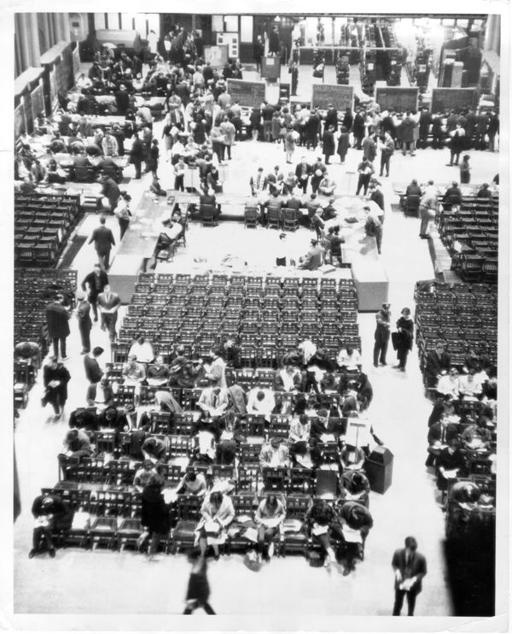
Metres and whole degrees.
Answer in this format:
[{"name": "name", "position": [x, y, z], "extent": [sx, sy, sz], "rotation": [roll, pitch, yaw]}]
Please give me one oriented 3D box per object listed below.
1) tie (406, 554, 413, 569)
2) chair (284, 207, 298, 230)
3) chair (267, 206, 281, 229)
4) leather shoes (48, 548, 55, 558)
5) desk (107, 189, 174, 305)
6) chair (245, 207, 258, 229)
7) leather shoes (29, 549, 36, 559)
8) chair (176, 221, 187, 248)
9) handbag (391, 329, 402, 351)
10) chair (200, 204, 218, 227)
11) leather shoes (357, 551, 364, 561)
[{"name": "tie", "position": [1.975, 3.078, 11.588], "extent": [0.100, 0.152, 0.029], "rotation": [2, -1, -36]}, {"name": "chair", "position": [1.005, -2.877, 26.386], "extent": [0.463, 0.785, 0.509], "rotation": [3, 38, 4]}, {"name": "chair", "position": [0.512, -3.002, 26.499], "extent": [0.386, 0.827, 0.534], "rotation": [3, 46, 5]}, {"name": "leather shoes", "position": [-3.009, 3.428, 13.316], "extent": [0.109, 0.165, 0.101], "rotation": [-2, 10, -17]}, {"name": "desk", "position": [-3.086, -1.765, 23.925], "extent": [0.546, 0.902, 3.981], "rotation": [18, 51, -10]}, {"name": "chair", "position": [-0.121, -2.927, 26.586], "extent": [0.394, 0.690, 0.511], "rotation": [1, 53, 0]}, {"name": "leather shoes", "position": [-3.311, 3.474, 13.354], "extent": [0.076, 0.049, 0.143], "rotation": [1, 60, 6]}, {"name": "chair", "position": [-2.056, -2.433, 25.372], "extent": [0.369, 0.822, 0.463], "rotation": [3, 40, -1]}, {"name": "handbag", "position": [2.990, 0.478, 19.081], "extent": [0.076, 0.340, 0.283], "rotation": [-2, 4, -11]}, {"name": "chair", "position": [-1.367, -2.982, 26.517], "extent": [0.448, 0.763, 0.578], "rotation": [3, 58, -2]}, {"name": "leather shoes", "position": [1.524, 3.384, 13.024], "extent": [0.053, 0.201, 0.121], "rotation": [5, -9, -23]}]
